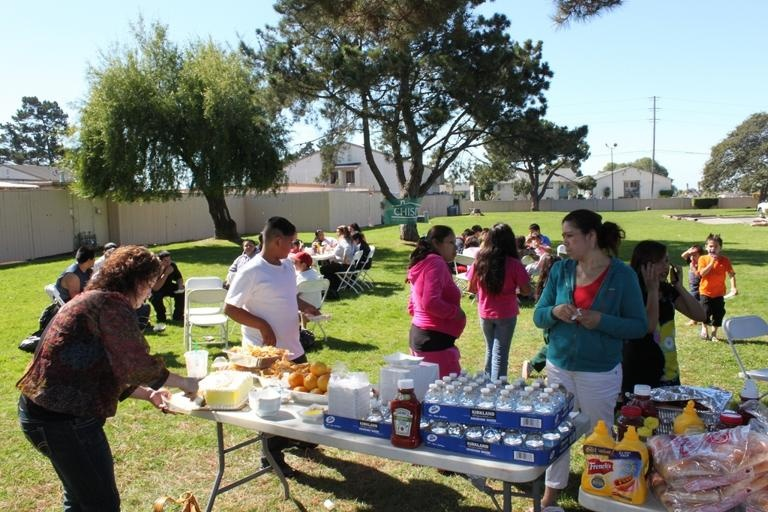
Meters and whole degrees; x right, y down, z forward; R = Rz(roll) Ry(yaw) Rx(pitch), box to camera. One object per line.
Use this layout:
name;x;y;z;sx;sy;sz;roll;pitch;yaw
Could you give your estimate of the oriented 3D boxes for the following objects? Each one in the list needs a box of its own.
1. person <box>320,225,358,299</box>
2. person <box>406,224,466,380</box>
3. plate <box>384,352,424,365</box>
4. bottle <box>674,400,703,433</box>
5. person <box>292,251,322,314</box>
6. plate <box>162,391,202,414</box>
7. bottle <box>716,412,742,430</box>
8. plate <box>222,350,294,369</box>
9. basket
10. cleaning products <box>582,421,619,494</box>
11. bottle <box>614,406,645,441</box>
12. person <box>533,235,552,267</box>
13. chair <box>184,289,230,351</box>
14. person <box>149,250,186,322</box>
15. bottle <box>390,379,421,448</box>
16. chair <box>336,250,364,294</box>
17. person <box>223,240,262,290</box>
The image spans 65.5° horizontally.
person;-1.132;0.087;14.441;0.708;1.549;1.495;1;6;9
person;0.525;0.447;6.031;0.602;1.500;0.761;1;6;6
plate;0.143;0.830;4.851;0.157;0.063;0.163;-2;-3;39
bottle;2.231;1.185;4.379;0.208;0.318;0.217;-2;5;0
person;-1.498;0.411;10.624;0.515;0.516;0.714;4;-22;8
plate;-1.728;1.256;5.124;0.170;0.058;0.180;8;13;20
bottle;2.508;1.176;4.326;0.135;0.149;0.137;-8;5;-36
plate;-1.183;0.945;5.571;0.561;0.151;0.215;0;6;-3
basket;2.388;1.131;4.631;0.429;0.163;0.401;-3;3;26
cleaning products;1.576;1.417;4.323;0.254;0.655;0.216;1;18;20
bottle;1.845;1.214;4.487;0.220;0.276;0.225;-2;-1;0
person;3.201;-0.118;12.102;0.440;0.490;1.390;-10;6;11
chair;-2.931;1.036;9.803;0.717;1.417;0.930;-1;19;-21
person;-4.267;0.568;11.695;0.729;1.392;0.708;3;11;15
bottle;0.173;1.176;4.521;0.231;0.497;0.138;0;6;3
chair;-0.845;0.410;14.822;0.830;1.324;0.711;0;3;4
person;-2.667;0.140;11.323;0.466;0.410;1.166;6;29;-2
